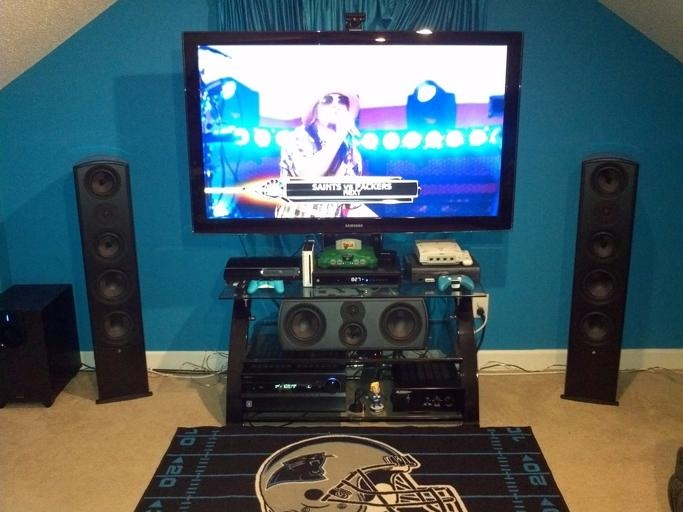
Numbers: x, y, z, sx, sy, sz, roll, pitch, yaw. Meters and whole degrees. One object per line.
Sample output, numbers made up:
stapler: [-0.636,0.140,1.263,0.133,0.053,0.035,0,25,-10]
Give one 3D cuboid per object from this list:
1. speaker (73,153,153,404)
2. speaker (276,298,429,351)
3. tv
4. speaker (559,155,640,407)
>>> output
speaker: [-1.407,0.174,3.784,0.323,1.518,0.091,-6,13,-19]
speaker: [0.031,0.417,3.790,0.971,0.304,0.281,2,-5,-20]
tv: [0.065,-0.711,3.692,1.638,0.905,0.027,0,9,-1]
speaker: [1.563,0.172,3.755,0.336,1.530,0.123,3,13,22]
